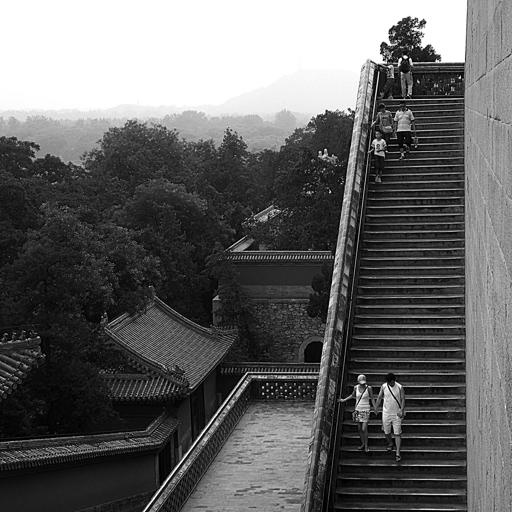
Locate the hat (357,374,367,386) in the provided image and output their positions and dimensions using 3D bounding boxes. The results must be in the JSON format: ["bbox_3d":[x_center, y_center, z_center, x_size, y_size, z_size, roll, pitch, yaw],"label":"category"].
[{"bbox_3d":[1.295,1.538,7.058,0.122,0.139,0.213,0,0,3],"label":"hat"}]

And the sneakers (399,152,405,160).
[{"bbox_3d":[2.844,-1.917,11.262,0.065,0.149,0.193,1,10,30],"label":"sneakers"}]

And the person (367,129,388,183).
[{"bbox_3d":[2.328,-1.837,10.904,0.228,0.857,0.587,-4,1,12],"label":"person"}]

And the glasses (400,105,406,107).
[{"bbox_3d":[2.916,-2.944,11.478,0.065,0.035,0.097,-8,10,5],"label":"glasses"}]

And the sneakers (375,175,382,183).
[{"bbox_3d":[2.250,-1.397,10.687,0.099,0.213,0.148,-6,13,-2],"label":"sneakers"}]

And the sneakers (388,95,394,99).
[{"bbox_3d":[3.213,-3.754,13.863,0.106,0.084,0.224,-5,1,14],"label":"sneakers"}]

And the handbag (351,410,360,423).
[{"bbox_3d":[1.186,1.893,6.877,0.067,0.139,0.136,-4,1,-1],"label":"handbag"}]

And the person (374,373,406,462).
[{"bbox_3d":[1.580,1.859,6.846,0.331,0.913,0.412,-4,1,11],"label":"person"}]

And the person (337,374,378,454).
[{"bbox_3d":[1.244,1.972,7.122,0.600,1.246,0.393,-3,-16,14],"label":"person"}]

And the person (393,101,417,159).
[{"bbox_3d":[2.935,-2.454,11.441,0.362,1.027,0.543,-4,1,15],"label":"person"}]

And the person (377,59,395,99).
[{"bbox_3d":[3.271,-4.300,14.368,0.352,0.914,1.276,-4,1,15],"label":"person"}]
